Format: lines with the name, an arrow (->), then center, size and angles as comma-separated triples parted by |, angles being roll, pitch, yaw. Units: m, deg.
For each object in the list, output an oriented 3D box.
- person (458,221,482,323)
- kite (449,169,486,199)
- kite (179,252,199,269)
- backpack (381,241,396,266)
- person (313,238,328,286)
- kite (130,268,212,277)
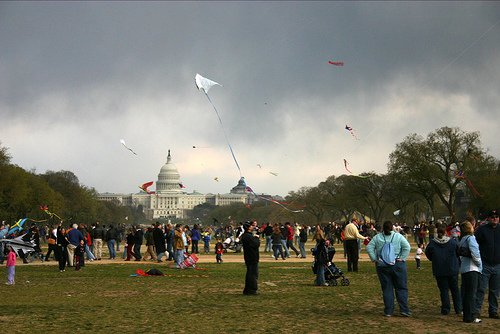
person -> 7.861, 3.664, 21.638 | 0.802, 3.427, 0.774 | 0, 0, 1
kite -> 22.268, 1.528, 63.070 | 5.600, 1.942, 0.492 | 36, -21, -23
kite -> -3.454, 5.469, 35.049 | 0.871, 0.854, 0.309 | 30, -39, 3
backpack -> 4.971, 3.119, 22.160 | 0.531, 0.775, 0.231 | 1, -22, -5
person -> 3.214, 4.297, 27.775 | 0.610, 2.110, 0.888 | -4, -13, 6
kite -> -4.015, 5.549, 31.965 | 4.060, 0.583, 3.207 | -1, -12, -6
